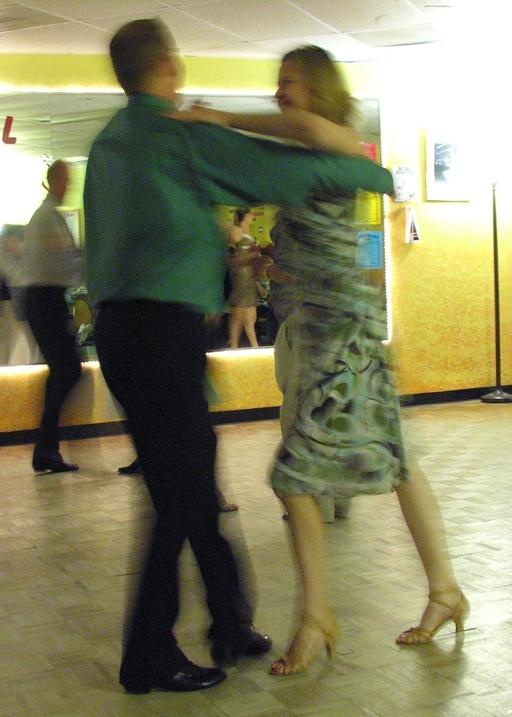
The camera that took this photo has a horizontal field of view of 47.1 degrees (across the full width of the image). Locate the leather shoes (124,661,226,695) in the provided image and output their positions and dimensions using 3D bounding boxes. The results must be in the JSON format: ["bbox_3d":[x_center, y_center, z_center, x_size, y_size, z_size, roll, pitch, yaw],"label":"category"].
[{"bbox_3d":[-0.182,0.690,1.308,0.164,0.036,0.092,-3,-6,-32],"label":"leather shoes"}]

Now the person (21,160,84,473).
[{"bbox_3d":[-1.475,-0.349,4.229,0.382,2.364,0.532,0,-6,-21],"label":"person"}]

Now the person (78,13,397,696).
[{"bbox_3d":[-0.103,0.043,1.205,0.465,1.368,0.445,1,-7,-30],"label":"person"}]

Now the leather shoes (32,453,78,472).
[{"bbox_3d":[-1.487,0.765,4.367,0.387,0.137,0.124,0,1,-30],"label":"leather shoes"}]
